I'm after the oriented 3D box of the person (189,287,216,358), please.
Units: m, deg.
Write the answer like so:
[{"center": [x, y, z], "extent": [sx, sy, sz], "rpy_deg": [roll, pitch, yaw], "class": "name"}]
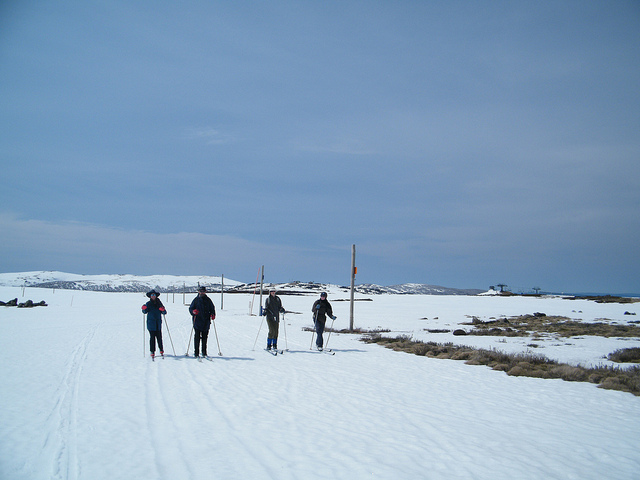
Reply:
[{"center": [-4.201, 2.942, 19.473], "extent": [0.840, 2.552, 0.847], "rpy_deg": [0, -1, -17], "class": "person"}]
